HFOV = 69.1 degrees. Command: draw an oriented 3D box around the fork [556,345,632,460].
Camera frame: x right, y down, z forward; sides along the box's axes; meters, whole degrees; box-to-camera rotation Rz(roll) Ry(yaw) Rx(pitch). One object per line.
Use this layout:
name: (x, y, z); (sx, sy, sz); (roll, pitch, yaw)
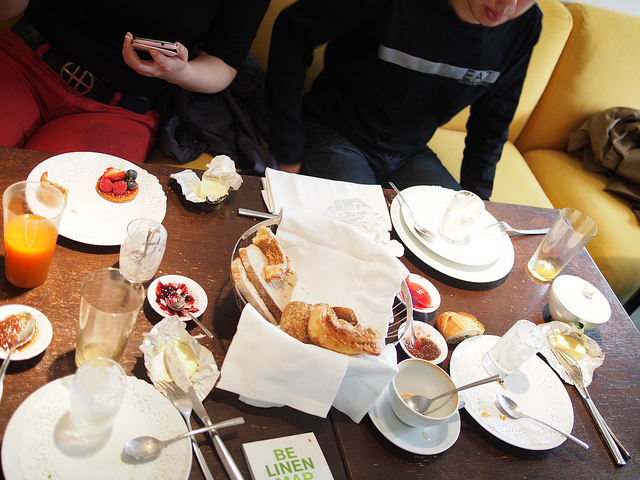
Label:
fork: (0.739, 0.401, 1.335); (0.030, 0.055, 0.434); (-4, 49, -23)

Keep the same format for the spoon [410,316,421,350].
spoon: (0.253, 0.259, 1.279); (0.022, 0.015, 0.107); (4, 62, -27)

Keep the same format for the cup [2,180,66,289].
cup: (-0.667, -0.006, 1.075); (0.127, 0.218, 0.143); (17, 29, -8)

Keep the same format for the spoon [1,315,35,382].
spoon: (-0.624, 0.232, 0.962); (0.018, 0.015, 0.107); (16, 58, -9)

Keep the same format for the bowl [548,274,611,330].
bowl: (0.809, 0.196, 1.492); (0.145, 0.105, 0.197); (22, 34, -2)

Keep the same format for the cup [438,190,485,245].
cup: (0.477, -0.067, 1.601); (0.093, 0.160, 0.102); (12, 35, -8)

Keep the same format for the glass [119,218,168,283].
glass: (-0.452, 0.023, 1.186); (0.105, 0.126, 0.128); (25, 39, -2)

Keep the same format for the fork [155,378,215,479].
fork: (-0.283, 0.397, 0.952); (0.023, 0.020, 0.190); (-10, 71, -35)

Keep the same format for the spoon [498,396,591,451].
spoon: (0.565, 0.479, 1.190); (0.175, 0.024, 0.035); (34, 47, 13)

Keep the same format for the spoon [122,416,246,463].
spoon: (-0.286, 0.411, 0.942); (0.220, 0.026, 0.049); (-17, 59, -24)

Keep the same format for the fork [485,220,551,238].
fork: (0.726, -0.036, 1.728); (0.412, 0.051, 0.064); (0, 80, -28)

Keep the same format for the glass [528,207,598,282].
glass: (0.824, 0.017, 1.604); (0.123, 0.215, 0.191); (42, 41, 20)

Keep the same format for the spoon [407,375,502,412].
spoon: (0.319, 0.382, 1.137); (0.204, 0.033, 0.046); (-20, 24, 9)

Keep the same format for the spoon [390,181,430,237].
spoon: (0.318, -0.101, 1.650); (0.043, 0.029, 0.291); (-6, 57, -39)

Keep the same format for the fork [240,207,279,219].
fork: (-0.193, -0.082, 1.455); (0.096, 0.016, 0.015); (14, 44, -9)

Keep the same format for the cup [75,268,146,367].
cup: (-0.452, 0.192, 0.988); (0.126, 0.198, 0.246); (6, 44, -23)

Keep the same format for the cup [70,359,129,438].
cup: (-0.422, 0.329, 0.881); (0.074, 0.136, 0.085); (9, 3, 10)

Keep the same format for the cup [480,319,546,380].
cup: (0.525, 0.310, 1.270); (0.074, 0.131, 0.082); (29, 32, -19)
